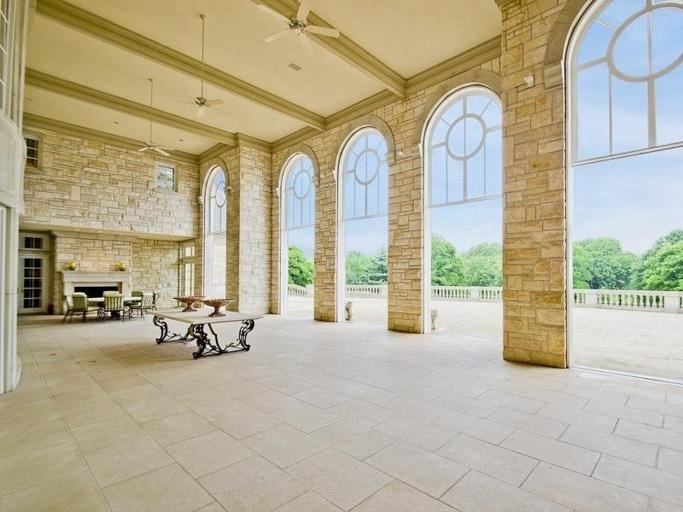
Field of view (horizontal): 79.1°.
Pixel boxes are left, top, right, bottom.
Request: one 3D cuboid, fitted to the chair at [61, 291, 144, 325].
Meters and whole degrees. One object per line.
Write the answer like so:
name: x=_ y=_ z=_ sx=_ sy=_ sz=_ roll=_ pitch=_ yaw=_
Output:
chair: x=-6.828 y=1.404 z=11.657 sx=1.777 sy=1.048 sz=2.201 roll=-4 pitch=8 yaw=-34
